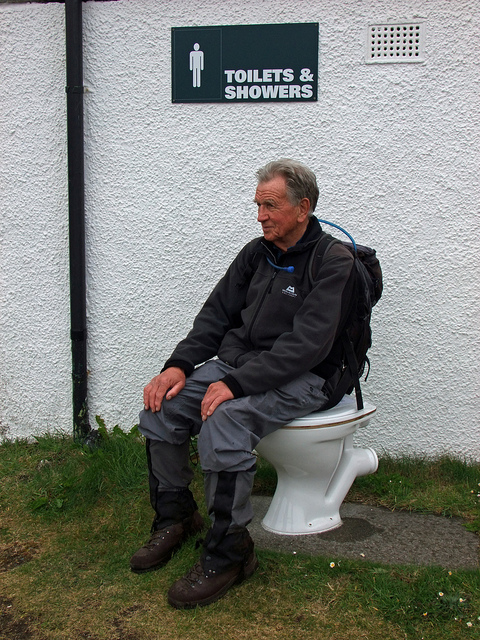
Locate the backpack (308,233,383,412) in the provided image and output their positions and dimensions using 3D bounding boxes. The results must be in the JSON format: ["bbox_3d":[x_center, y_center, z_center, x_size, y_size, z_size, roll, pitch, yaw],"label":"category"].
[{"bbox_3d":[0.438,0.010,2.497,0.217,0.720,0.432,5,15,35],"label":"backpack"}]

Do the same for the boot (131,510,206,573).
[{"bbox_3d":[-0.283,0.841,2.355,0.354,0.122,0.114,-28,17,-39],"label":"boot"}]

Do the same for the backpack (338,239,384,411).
[{"bbox_3d":[0.523,0.030,2.525,0.278,0.614,0.257,9,15,17],"label":"backpack"}]

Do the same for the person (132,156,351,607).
[{"bbox_3d":[-0.069,0.136,2.374,0.977,1.480,0.693,-14,16,-39],"label":"person"}]

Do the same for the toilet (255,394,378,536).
[{"bbox_3d":[0.282,0.585,2.674,0.599,0.531,0.516,1,13,-13],"label":"toilet"}]
